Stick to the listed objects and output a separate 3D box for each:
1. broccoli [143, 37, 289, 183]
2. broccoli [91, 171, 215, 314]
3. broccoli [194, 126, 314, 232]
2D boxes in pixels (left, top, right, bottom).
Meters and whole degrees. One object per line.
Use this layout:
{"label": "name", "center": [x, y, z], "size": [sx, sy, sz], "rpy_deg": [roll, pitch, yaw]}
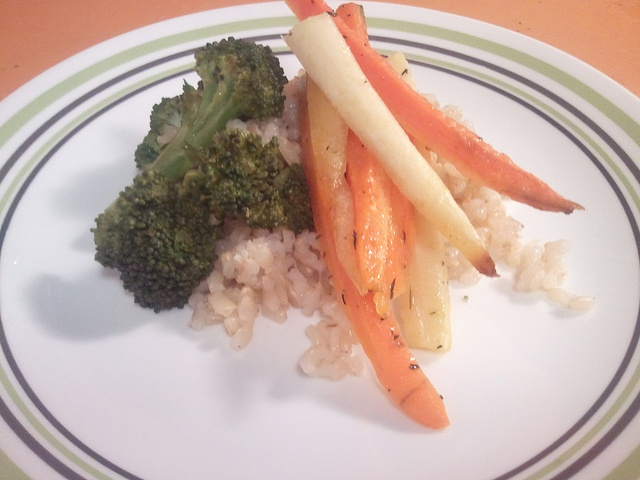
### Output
{"label": "broccoli", "center": [-0.504, -0.549, 3.445], "size": [0.806, 0.384, 0.566], "rpy_deg": [-33, 62, 5]}
{"label": "broccoli", "center": [-0.723, -0.001, 2.996], "size": [0.506, 0.221, 0.622], "rpy_deg": [4, 89, -4]}
{"label": "broccoli", "center": [-0.281, -0.259, 3.183], "size": [0.529, 0.336, 0.399], "rpy_deg": [10, 85, 2]}
